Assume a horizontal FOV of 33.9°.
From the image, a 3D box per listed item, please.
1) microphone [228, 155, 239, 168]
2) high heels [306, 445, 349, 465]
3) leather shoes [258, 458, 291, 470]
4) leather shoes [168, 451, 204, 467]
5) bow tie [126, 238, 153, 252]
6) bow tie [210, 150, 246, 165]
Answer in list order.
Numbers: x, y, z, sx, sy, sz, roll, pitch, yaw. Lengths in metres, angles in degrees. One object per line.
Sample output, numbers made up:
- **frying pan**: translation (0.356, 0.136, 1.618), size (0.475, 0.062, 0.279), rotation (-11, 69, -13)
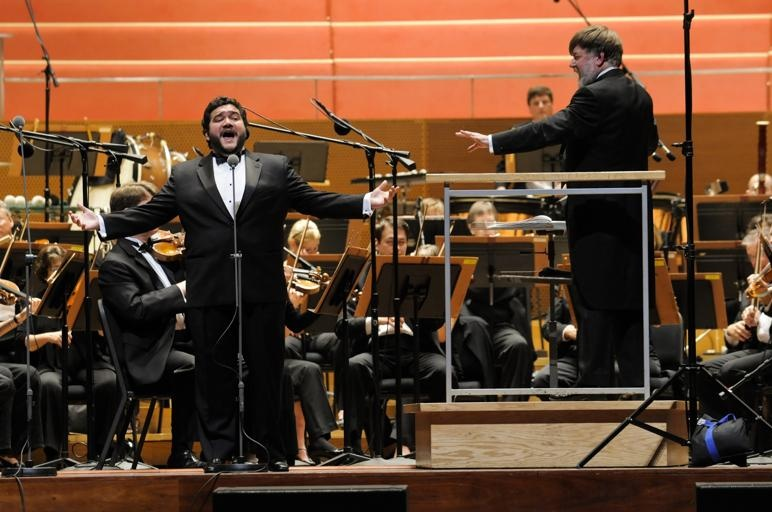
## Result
- **microphone**: translation (-1.101, -0.674, 9.116), size (0.108, 0.071, 0.095), rotation (-5, 0, 8)
- **high heels**: translation (-0.467, 1.594, 10.239), size (0.359, 0.130, 0.117), rotation (-18, -8, 15)
- **leather shoes**: translation (-0.806, 1.510, 9.129), size (0.255, 0.084, 0.082), rotation (10, -9, 8)
- **leather shoes**: translation (-1.580, 1.581, 9.856), size (0.392, 0.139, 0.128), rotation (-5, -10, 21)
- **bow tie**: translation (-1.952, -0.088, 9.931), size (0.132, 0.047, 0.120), rotation (19, 9, 4)
- **bow tie**: translation (-1.170, -0.701, 9.263), size (0.164, 0.072, 0.124), rotation (-9, -33, 8)
